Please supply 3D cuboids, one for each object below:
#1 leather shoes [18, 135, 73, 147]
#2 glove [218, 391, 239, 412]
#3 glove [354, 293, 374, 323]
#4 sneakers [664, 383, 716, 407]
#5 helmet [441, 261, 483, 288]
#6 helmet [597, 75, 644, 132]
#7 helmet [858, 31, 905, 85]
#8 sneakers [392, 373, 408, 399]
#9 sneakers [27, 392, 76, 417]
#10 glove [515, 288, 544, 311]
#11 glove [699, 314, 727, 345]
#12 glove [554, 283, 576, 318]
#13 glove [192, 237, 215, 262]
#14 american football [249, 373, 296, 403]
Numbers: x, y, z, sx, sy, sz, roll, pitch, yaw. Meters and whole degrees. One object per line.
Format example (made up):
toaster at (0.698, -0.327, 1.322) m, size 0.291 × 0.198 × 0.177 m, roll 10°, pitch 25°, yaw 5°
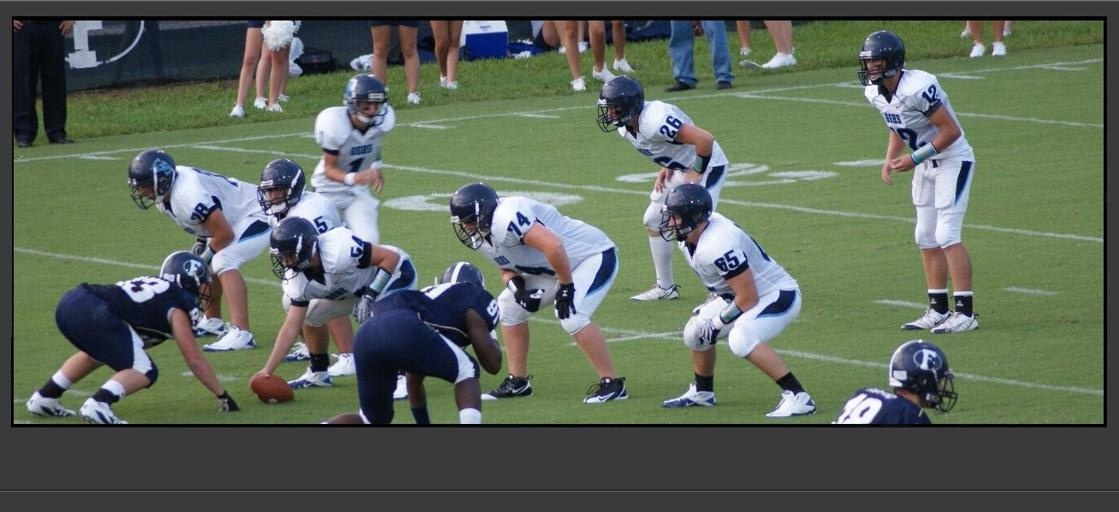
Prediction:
leather shoes at (-7.280, -1.625, 23.068) m, size 0.740 × 0.210 × 0.196 m, roll 4°, pitch -6°, yaw -19°
glove at (-3.457, 1.518, 16.962) m, size 0.131 × 0.091 × 0.250 m, roll -30°, pitch 61°, yaw -33°
glove at (-2.042, 0.532, 16.979) m, size 0.169 × 0.285 × 0.206 m, roll 12°, pitch 38°, yaw -13°
sneakers at (1.381, 1.485, 17.067) m, size 0.691 × 0.224 × 0.200 m, roll 0°, pitch 0°, yaw 3°
helmet at (-1.025, 0.195, 16.887) m, size 0.351 × 0.251 × 0.345 m, roll -26°, pitch -25°, yaw 14°
helmet at (0.691, -1.732, 18.293) m, size 0.532 × 0.571 × 0.265 m, roll -3°, pitch 11°, yaw 5°
helmet at (3.562, -2.192, 17.980) m, size 0.459 × 0.575 × 0.249 m, roll -3°, pitch 11°, yaw 7°
sneakers at (-1.689, 1.378, 17.230) m, size 0.140 × 0.246 × 0.225 m, roll -6°, pitch 10°, yaw -7°
sneakers at (-5.332, 1.533, 16.924) m, size 0.607 × 0.226 × 0.178 m, roll 5°, pitch 32°, yaw -17°
glove at (-0.329, 0.452, 17.076) m, size 0.260 × 0.213 × 0.159 m, roll 0°, pitch 11°, yaw 18°
glove at (1.637, 0.768, 16.784) m, size 0.336 × 0.210 × 0.138 m, roll -35°, pitch -41°, yaw 25°
glove at (0.054, 0.463, 16.909) m, size 0.284 × 0.313 × 0.127 m, roll 0°, pitch 5°, yaw 1°
glove at (-3.935, -0.082, 18.004) m, size 0.239 × 0.108 × 0.313 m, roll 38°, pitch -20°, yaw -9°
american football at (-3.000, 1.388, 17.129) m, size 0.466 × 0.210 × 0.281 m, roll 15°, pitch 5°, yaw -12°
